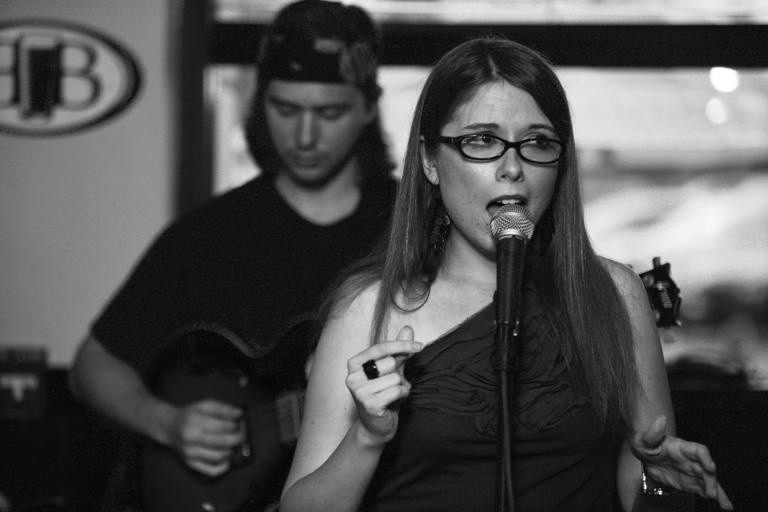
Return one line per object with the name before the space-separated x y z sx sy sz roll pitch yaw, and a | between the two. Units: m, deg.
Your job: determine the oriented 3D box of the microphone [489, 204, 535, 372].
microphone | 0.377 0.082 2.612 0.118 0.439 0.306 0 11 8
